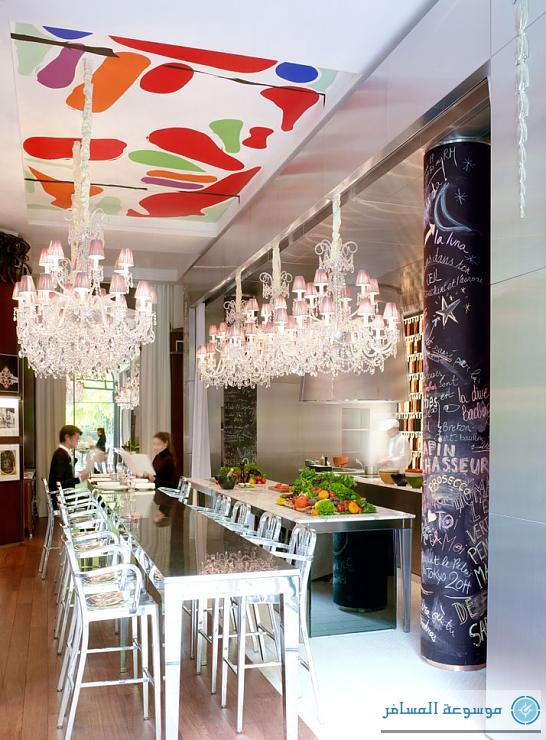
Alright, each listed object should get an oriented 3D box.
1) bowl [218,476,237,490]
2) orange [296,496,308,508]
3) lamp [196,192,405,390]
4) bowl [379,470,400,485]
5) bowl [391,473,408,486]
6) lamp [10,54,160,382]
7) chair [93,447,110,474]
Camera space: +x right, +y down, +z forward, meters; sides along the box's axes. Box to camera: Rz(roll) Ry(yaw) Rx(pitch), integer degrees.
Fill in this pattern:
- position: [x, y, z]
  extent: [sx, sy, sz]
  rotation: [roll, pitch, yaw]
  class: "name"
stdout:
- position: [-0.518, 1.272, 6.456]
  extent: [0.164, 0.118, 0.169]
  rotation: [0, -14, 0]
  class: "bowl"
- position: [0.242, 1.080, 4.635]
  extent: [0.098, 0.077, 0.074]
  rotation: [-35, -29, 1]
  class: "orange"
- position: [0.371, -0.946, 6.556]
  extent: [0.729, 1.404, 2.345]
  rotation: [5, -6, -26]
  class: "lamp"
- position: [1.309, 1.223, 6.434]
  extent: [0.154, 0.110, 0.159]
  rotation: [0, -10, 0]
  class: "bowl"
- position: [1.414, 1.212, 6.290]
  extent: [0.139, 0.093, 0.142]
  rotation: [0, -8, 0]
  class: "bowl"
- position: [-1.825, -1.609, 5.416]
  extent: [1.098, 2.844, 1.092]
  rotation: [-3, 8, -45]
  class: "lamp"
- position: [-4.044, 2.142, 13.369]
  extent: [0.335, 0.663, 0.933]
  rotation: [0, -1, -16]
  class: "chair"
